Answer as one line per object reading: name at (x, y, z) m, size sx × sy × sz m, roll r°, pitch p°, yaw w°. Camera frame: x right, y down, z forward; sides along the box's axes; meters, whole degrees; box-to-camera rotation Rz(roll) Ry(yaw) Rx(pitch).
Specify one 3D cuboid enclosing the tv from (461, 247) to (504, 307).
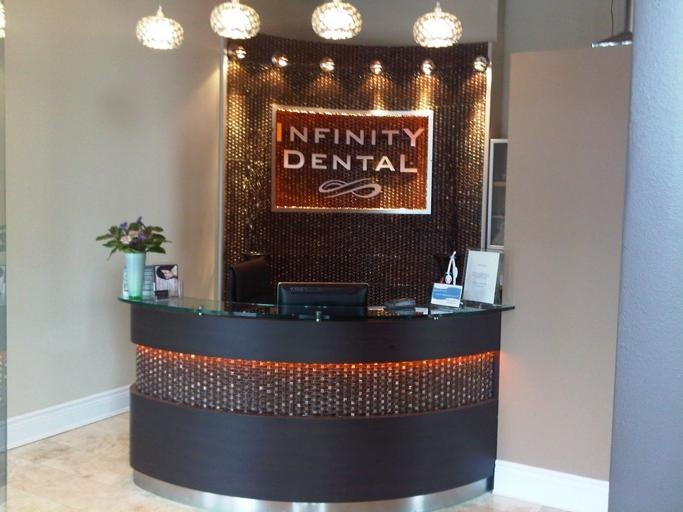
tv at (0.881, 0.141, 3.726) m, size 0.045 × 0.451 × 0.329 m, roll 5°, pitch -2°, yaw -41°

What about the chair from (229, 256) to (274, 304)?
chair at (-0.788, 0.228, 5.607) m, size 0.312 × 0.358 × 0.641 m, roll 0°, pitch 7°, yaw 12°

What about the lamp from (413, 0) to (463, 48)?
lamp at (0.712, -1.699, 4.447) m, size 0.288 × 0.275 × 0.207 m, roll -3°, pitch 7°, yaw -15°

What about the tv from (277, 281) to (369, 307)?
tv at (-0.105, 0.223, 3.437) m, size 0.508 × 0.144 × 0.054 m, roll -1°, pitch 7°, yaw 1°

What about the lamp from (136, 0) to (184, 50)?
lamp at (-1.299, -1.615, 4.297) m, size 0.229 × 0.234 × 0.218 m, roll 2°, pitch 8°, yaw 28°

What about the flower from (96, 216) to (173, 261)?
flower at (-1.261, -0.107, 3.838) m, size 0.442 × 0.201 × 0.454 m, roll -1°, pitch -3°, yaw 3°

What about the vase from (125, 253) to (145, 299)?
vase at (-1.255, 0.111, 3.674) m, size 0.115 × 0.281 × 0.095 m, roll -4°, pitch 7°, yaw -20°
